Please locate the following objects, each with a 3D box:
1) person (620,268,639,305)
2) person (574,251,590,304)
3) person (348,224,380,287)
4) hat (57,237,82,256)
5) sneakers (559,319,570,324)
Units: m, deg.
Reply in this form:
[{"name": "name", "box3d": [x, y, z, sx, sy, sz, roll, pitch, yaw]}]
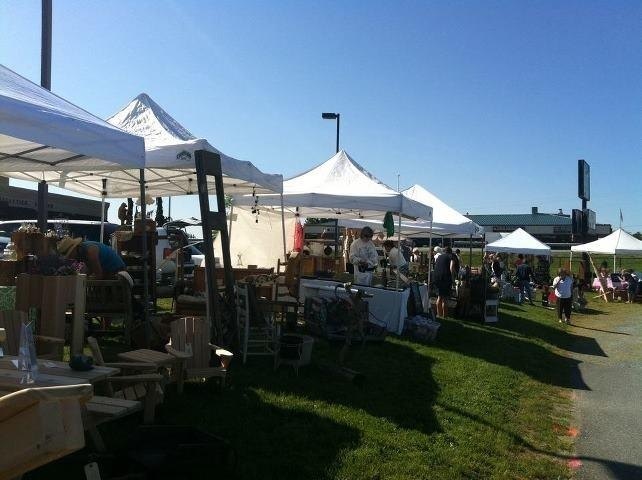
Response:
[{"name": "person", "box3d": [13.848, 2.076, 22.667, 0.642, 1.290, 1.890, 0, -1, 31]}, {"name": "person", "box3d": [13.934, 1.800, 26.937, 0.762, 3.506, 0.675, -13, -46, 37]}, {"name": "person", "box3d": [0.941, 0.376, 11.822, 0.600, 1.373, 1.085, 0, -1, 13]}, {"name": "hat", "box3d": [-3.922, 0.104, 7.893, 0.229, 0.274, 0.457, 1, -1, 3]}, {"name": "sneakers", "box3d": [7.724, 2.594, 16.067, 0.133, 0.158, 0.368, -4, -7, -3]}]
